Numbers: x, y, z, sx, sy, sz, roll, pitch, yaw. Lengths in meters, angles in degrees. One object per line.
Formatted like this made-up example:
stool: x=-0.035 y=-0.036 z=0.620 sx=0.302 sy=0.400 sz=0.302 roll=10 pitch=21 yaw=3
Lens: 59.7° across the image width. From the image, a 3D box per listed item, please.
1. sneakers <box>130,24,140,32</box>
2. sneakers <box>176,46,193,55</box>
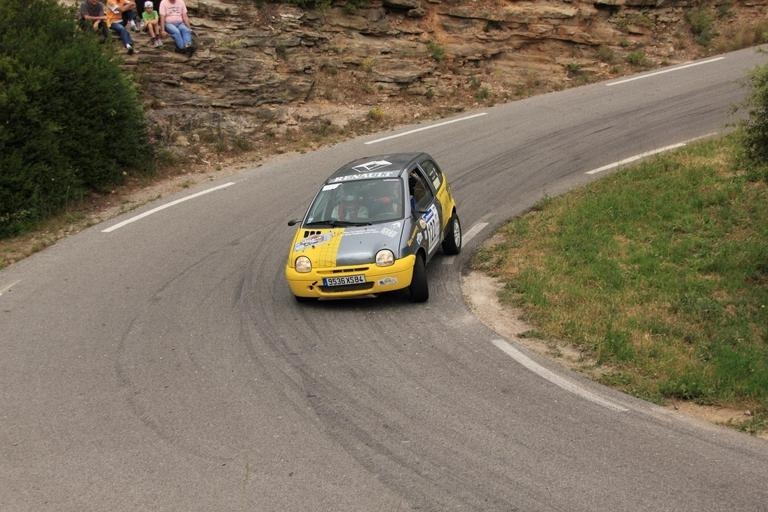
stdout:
sneakers: x=-8.563 y=-7.853 z=23.053 sx=0.365 sy=0.161 sz=0.149 roll=8 pitch=47 yaw=6
sneakers: x=-6.818 y=-6.944 z=22.667 sx=0.678 sy=0.228 sz=0.285 roll=3 pitch=2 yaw=-12
